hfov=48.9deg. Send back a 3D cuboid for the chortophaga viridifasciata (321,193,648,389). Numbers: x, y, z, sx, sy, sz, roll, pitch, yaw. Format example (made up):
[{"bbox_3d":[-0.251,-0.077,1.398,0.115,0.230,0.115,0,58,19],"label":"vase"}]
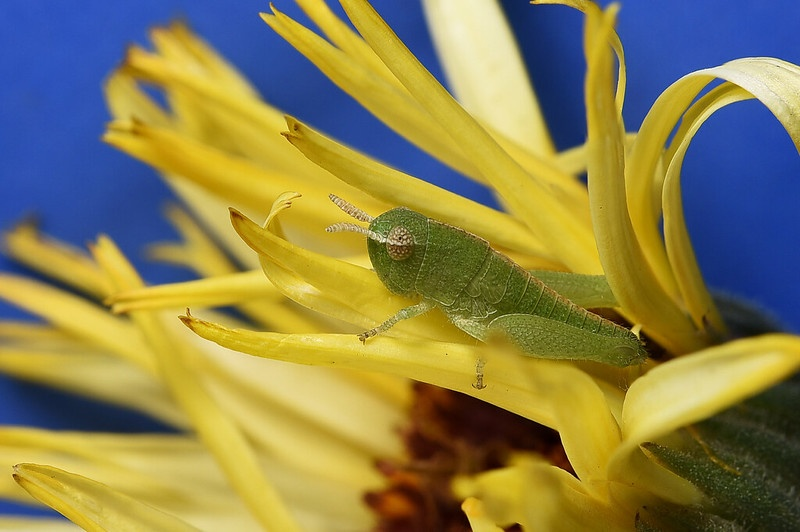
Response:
[{"bbox_3d":[0.120,0.041,1.264,0.386,0.118,0.272,22,44,-5],"label":"chortophaga viridifasciata"}]
